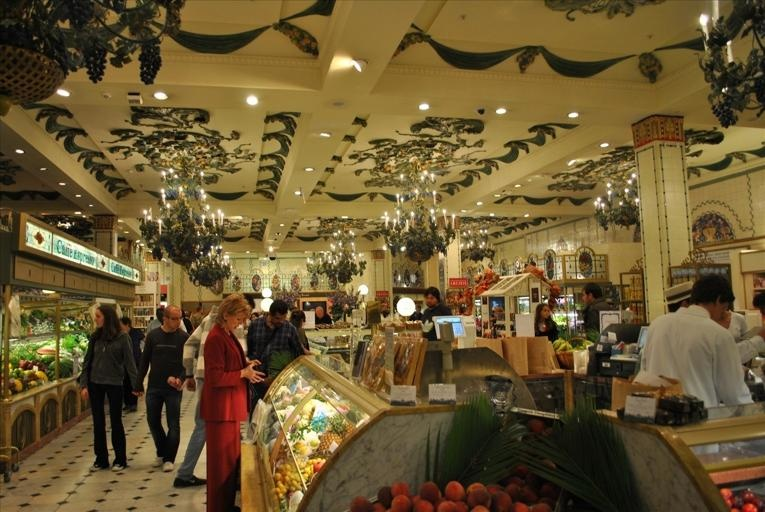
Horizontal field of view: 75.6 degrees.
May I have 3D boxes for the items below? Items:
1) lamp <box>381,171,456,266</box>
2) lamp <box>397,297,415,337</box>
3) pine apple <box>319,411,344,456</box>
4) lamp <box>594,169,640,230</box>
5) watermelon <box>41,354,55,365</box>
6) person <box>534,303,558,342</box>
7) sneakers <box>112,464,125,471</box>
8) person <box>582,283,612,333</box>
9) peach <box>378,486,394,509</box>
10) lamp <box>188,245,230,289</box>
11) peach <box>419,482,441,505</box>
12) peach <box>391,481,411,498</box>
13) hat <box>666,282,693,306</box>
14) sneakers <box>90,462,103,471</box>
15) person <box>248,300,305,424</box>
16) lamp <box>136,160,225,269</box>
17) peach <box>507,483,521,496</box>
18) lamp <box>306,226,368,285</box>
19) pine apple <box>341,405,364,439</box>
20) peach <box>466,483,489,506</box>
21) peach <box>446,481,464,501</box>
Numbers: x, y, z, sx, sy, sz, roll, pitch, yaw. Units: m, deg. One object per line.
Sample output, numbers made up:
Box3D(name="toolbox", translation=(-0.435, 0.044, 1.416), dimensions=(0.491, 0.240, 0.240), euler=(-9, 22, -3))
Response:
Box3D(name="lamp", translation=(0.805, -0.794, 10.760), dimensions=(1.434, 1.922, 1.444), euler=(-1, -15, -3))
Box3D(name="lamp", translation=(0.370, 1.097, 8.834), dimensions=(0.340, 0.702, 0.350), euler=(7, -3, 31))
Box3D(name="pine apple", translation=(-0.331, 1.203, 3.299), dimensions=(0.134, 0.235, 0.382), euler=(0, -9, -14))
Box3D(name="lamp", translation=(5.276, -1.276, 11.209), dimensions=(0.751, 1.324, 1.445), euler=(-5, -9, 21))
Box3D(name="watermelon", translation=(-5.099, 1.618, 7.586), dimensions=(0.063, 0.132, 0.341), euler=(0, -9, -14))
Box3D(name="person", translation=(2.570, 1.059, 7.816), dimensions=(0.329, 0.609, 0.794), euler=(-5, -9, 16))
Box3D(name="sneakers", translation=(-3.344, 2.717, 6.306), dimensions=(0.068, 0.060, 0.158), euler=(2, -15, -5))
Box3D(name="person", translation=(3.201, 0.793, 7.438), dimensions=(0.360, 0.726, 0.441), euler=(-5, -9, 21))
Box3D(name="peach", translation=(0.022, 1.300, 2.654), dimensions=(0.094, 0.109, 0.092), euler=(1, -1, 3))
Box3D(name="lamp", translation=(-4.234, 0.308, 12.428), dimensions=(0.867, 0.850, 0.831), euler=(-4, 7, -11))
Box3D(name="peach", translation=(0.245, 1.253, 2.613), dimensions=(0.104, 0.121, 0.101), euler=(0, -4, -20))
Box3D(name="peach", translation=(0.096, 1.243, 2.616), dimensions=(0.073, 0.069, 0.070), euler=(3, -12, 12))
Box3D(name="hat", translation=(2.962, 0.377, 4.960), dimensions=(0.321, 0.083, 0.303), euler=(-27, 4, -23))
Box3D(name="sneakers", translation=(-3.640, 2.709, 6.321), dimensions=(0.214, 0.084, 0.119), euler=(-6, -10, 26))
Box3D(name="person", translation=(-1.352, 1.447, 6.153), dimensions=(0.806, 1.673, 0.578), euler=(5, 7, -17))
Box3D(name="lamp", translation=(-4.118, -0.879, 9.944), dimensions=(1.531, 1.936, 1.599), euler=(15, 6, -15))
Box3D(name="peach", translation=(0.695, 1.240, 2.607), dimensions=(0.055, 0.053, 0.055), euler=(-4, -15, 2))
Box3D(name="lamp", translation=(-1.344, 0.348, 18.084), dimensions=(1.450, 1.502, 1.413), euler=(1, -5, -18))
Box3D(name="pine apple", translation=(-0.182, 1.057, 3.115), dimensions=(0.123, 0.175, 0.416), euler=(0, -9, -13))
Box3D(name="peach", translation=(0.483, 1.221, 2.526), dimensions=(0.095, 0.107, 0.091), euler=(-3, -5, -4))
Box3D(name="peach", translation=(0.379, 1.241, 2.606), dimensions=(0.098, 0.087, 0.129), euler=(0, -9, -11))
